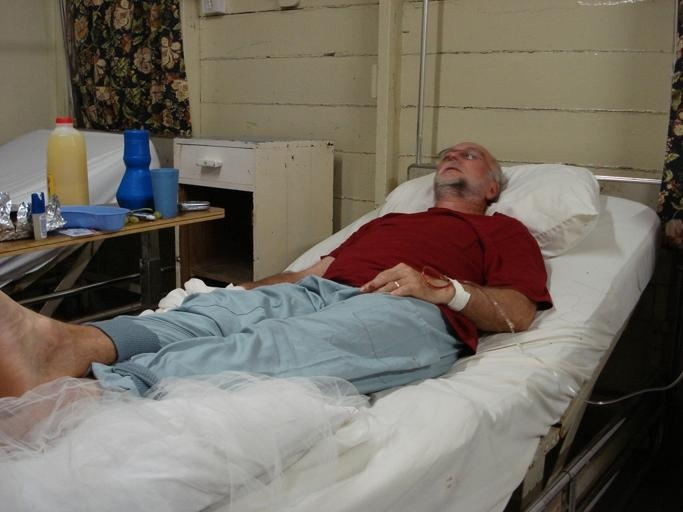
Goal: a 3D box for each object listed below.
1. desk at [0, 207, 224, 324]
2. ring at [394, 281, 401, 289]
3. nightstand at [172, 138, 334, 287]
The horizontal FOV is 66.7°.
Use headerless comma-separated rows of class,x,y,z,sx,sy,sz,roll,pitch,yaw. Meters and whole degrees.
desk,-0.953,0.047,2.187,0.271,0.261,0.501,15,27,40
ring,0.163,0.087,1.529,0.005,0.018,0.017,24,-19,-40
nightstand,-0.477,-0.242,2.792,0.530,0.816,0.528,12,24,28
